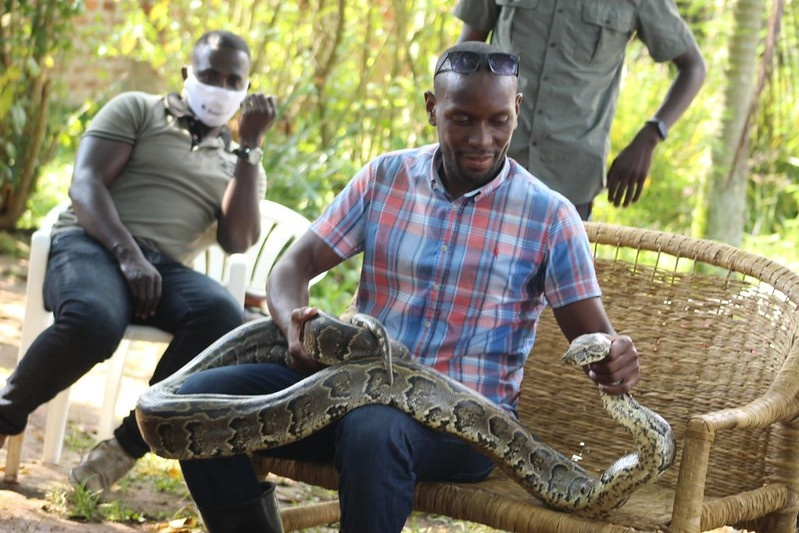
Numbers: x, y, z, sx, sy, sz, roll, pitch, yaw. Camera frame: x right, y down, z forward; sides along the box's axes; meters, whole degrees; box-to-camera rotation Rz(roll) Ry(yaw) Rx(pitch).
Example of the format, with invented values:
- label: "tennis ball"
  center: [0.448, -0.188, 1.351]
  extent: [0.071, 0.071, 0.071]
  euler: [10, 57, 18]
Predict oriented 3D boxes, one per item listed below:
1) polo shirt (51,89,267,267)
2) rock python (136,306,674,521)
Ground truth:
- label: "polo shirt"
  center: [-1.615, -0.575, 7.344]
  extent: [1.421, 1.186, 0.753]
  euler: [40, -20, -25]
- label: "rock python"
  center: [-0.064, 0.829, 6.020]
  extent: [2.947, 0.631, 1.823]
  euler: [11, 4, -18]
